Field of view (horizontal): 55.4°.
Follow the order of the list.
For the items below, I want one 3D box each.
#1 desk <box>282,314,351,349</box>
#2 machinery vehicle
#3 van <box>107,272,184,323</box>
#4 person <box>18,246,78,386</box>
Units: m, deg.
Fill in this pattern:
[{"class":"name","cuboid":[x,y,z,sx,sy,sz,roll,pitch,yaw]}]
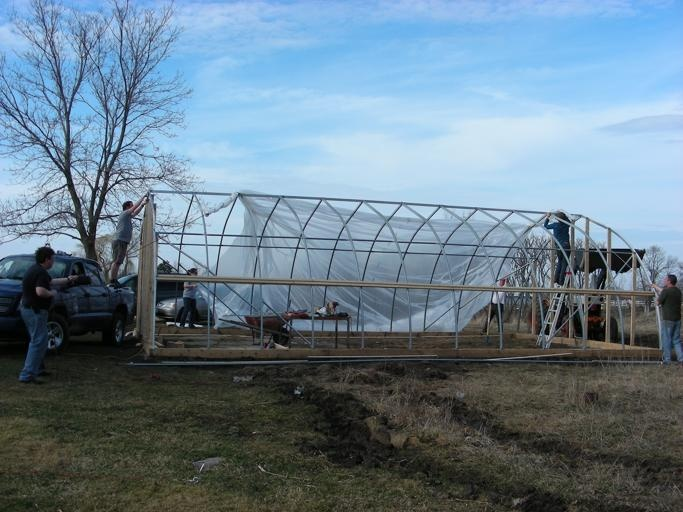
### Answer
[{"class":"desk","cuboid":[-0.595,1.956,15.560,1.759,0.835,0.960,1,-10,-7]},{"class":"machinery vehicle","cuboid":[7.039,1.079,18.960,2.529,2.900,2.566,3,-3,-30]},{"class":"van","cuboid":[-6.322,1.179,22.443,3.271,1.805,1.906,-3,-1,-13]},{"class":"person","cuboid":[-5.457,1.048,11.771,0.650,2.424,0.814,6,10,26]}]
